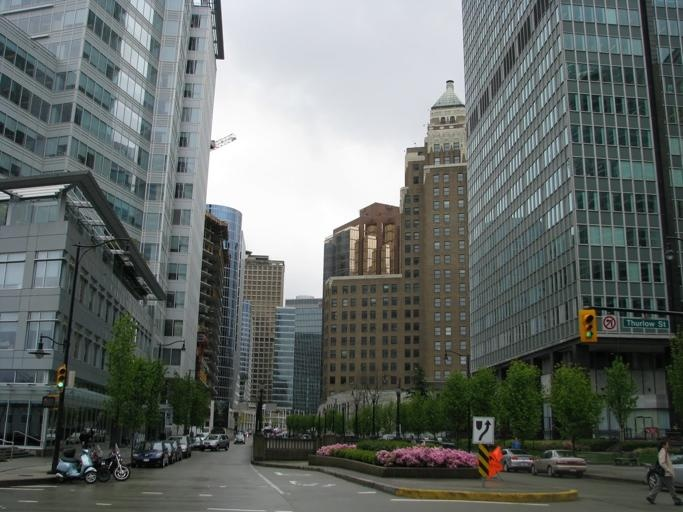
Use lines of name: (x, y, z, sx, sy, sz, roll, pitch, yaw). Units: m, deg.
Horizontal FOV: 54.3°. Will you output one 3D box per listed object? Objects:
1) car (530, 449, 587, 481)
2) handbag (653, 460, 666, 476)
car: (14.694, 13.896, 44.908, 2.220, 1.718, 3.503, 1, -18, -5)
handbag: (13.982, 9.340, 29.314, 0.227, 0.615, 0.583, 0, -17, -3)
